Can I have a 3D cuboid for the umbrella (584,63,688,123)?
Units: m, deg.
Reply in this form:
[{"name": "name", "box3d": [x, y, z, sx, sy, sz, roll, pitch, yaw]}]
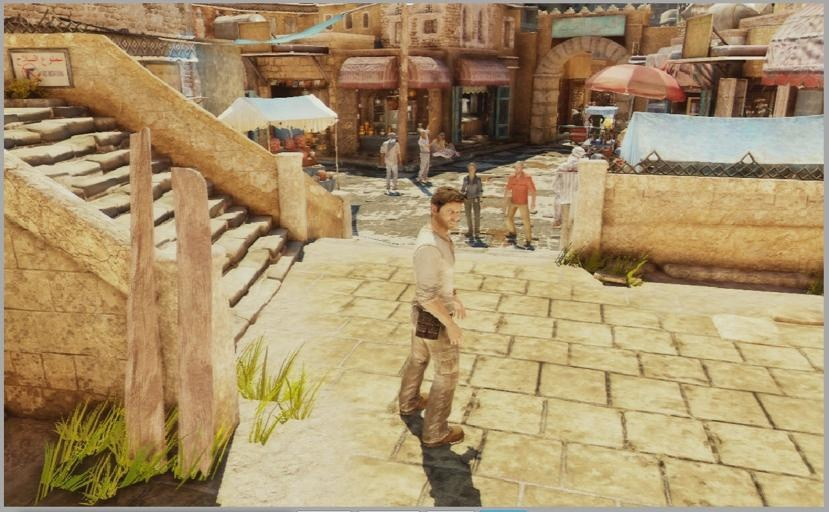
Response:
[{"name": "umbrella", "box3d": [6.075, -4.836, 15.153, 2.411, 0.916, 1.335, 3, 16, 13]}]
